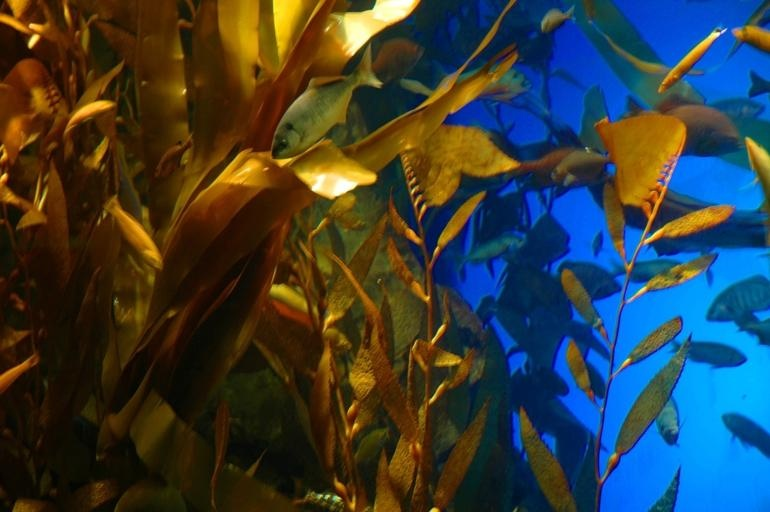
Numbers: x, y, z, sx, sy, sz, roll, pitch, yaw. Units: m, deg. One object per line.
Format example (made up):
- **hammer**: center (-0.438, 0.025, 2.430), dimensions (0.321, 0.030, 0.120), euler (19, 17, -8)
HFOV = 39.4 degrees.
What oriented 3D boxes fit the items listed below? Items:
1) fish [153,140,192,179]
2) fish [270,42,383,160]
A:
- **fish**: center (-0.237, -0.107, 1.191), dimensions (0.015, 0.047, 0.029), euler (40, -8, 35)
- **fish**: center (-0.056, -0.150, 1.103), dimensions (0.086, 0.151, 0.041), euler (11, -32, 14)
